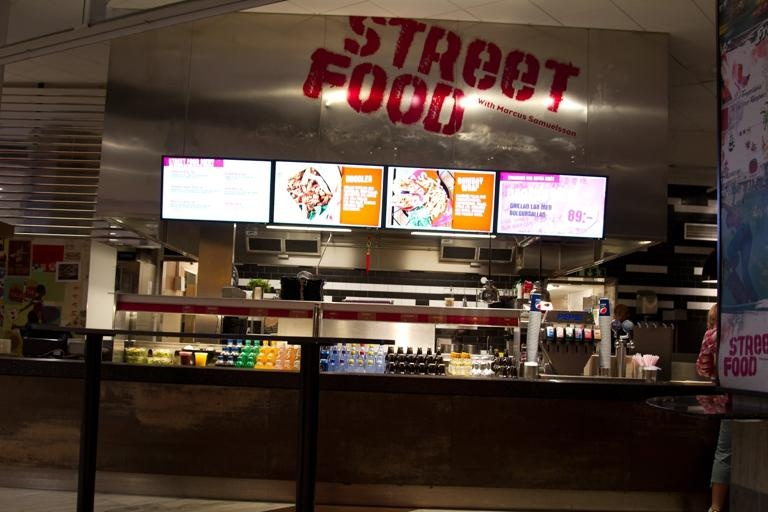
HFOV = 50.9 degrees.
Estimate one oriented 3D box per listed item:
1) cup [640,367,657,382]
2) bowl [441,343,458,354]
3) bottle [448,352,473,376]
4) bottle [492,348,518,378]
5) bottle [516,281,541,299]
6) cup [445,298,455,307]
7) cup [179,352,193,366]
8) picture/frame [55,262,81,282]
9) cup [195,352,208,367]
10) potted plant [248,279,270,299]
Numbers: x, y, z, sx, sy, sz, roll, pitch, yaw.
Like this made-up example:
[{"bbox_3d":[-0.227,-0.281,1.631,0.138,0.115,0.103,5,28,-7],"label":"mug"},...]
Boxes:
[{"bbox_3d":[2.637,1.182,8.058,0.170,0.136,0.133,-2,-7,17],"label":"cup"},{"bbox_3d":[0.867,1.205,10.570,0.158,0.095,0.158,0,-4,0],"label":"bowl"},{"bbox_3d":[0.771,1.098,8.345,0.258,0.236,0.250,1,-7,10],"label":"bottle"},{"bbox_3d":[1.226,1.105,8.229,0.227,0.242,0.227,-2,-5,27],"label":"bottle"},{"bbox_3d":[1.803,0.418,10.276,0.234,0.163,0.409,0,-6,7],"label":"bottle"},{"bbox_3d":[0.877,0.599,10.687,0.140,0.179,0.137,1,1,0],"label":"cup"},{"bbox_3d":[-2.053,1.063,8.402,0.160,0.122,0.161,1,-7,0],"label":"cup"},{"bbox_3d":[-4.224,0.215,10.772,0.281,0.229,0.028,0,-14,-5],"label":"picture/frame"},{"bbox_3d":[-1.885,1.054,8.311,0.165,0.119,0.161,2,0,0],"label":"cup"},{"bbox_3d":[-1.587,0.416,10.269,0.264,0.240,0.240,1,-9,-5],"label":"potted plant"}]
